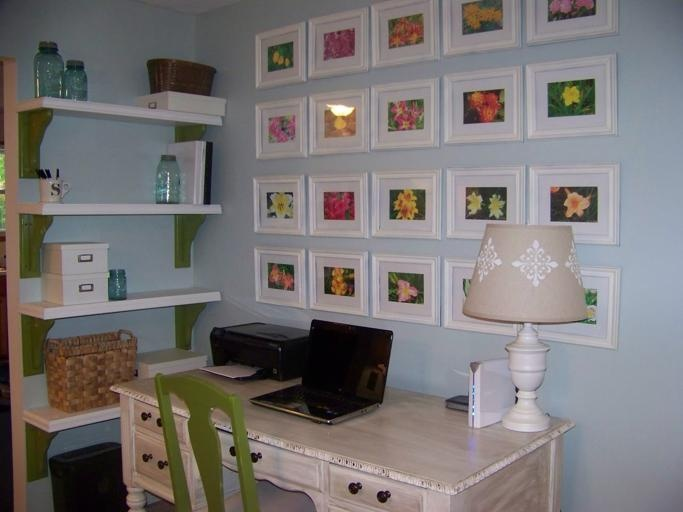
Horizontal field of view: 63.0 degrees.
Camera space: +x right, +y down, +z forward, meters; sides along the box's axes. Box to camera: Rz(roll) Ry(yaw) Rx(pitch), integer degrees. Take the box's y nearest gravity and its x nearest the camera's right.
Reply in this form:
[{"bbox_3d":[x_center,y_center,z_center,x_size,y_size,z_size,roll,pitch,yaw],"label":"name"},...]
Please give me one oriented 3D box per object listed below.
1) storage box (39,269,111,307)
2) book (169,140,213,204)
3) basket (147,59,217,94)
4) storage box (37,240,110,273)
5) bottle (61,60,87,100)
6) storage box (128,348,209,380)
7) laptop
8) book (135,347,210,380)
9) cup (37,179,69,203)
[{"bbox_3d":[-1.382,0.140,2.875,0.199,0.130,0.204,2,3,40],"label":"storage box"},{"bbox_3d":[-0.848,-0.472,3.157,0.317,0.383,0.129,7,10,41],"label":"book"},{"bbox_3d":[-0.877,-0.938,3.116,0.305,0.139,0.215,0,2,-40],"label":"basket"},{"bbox_3d":[-1.381,-0.009,2.872,0.197,0.128,0.201,1,2,41],"label":"storage box"},{"bbox_3d":[-1.336,-0.879,2.794,0.097,0.208,0.080,-3,9,-5],"label":"bottle"},{"bbox_3d":[-0.943,0.586,3.020,0.233,0.158,0.125,-5,11,-40],"label":"storage box"},{"bbox_3d":[-0.029,0.486,2.362,0.444,0.286,0.396,2,1,42],"label":"laptop"},{"bbox_3d":[-0.921,0.585,3.029,0.234,0.157,0.127,-5,10,-40],"label":"book"},{"bbox_3d":[-1.439,-0.316,2.810,0.144,0.131,0.119,3,-4,-35],"label":"cup"}]
